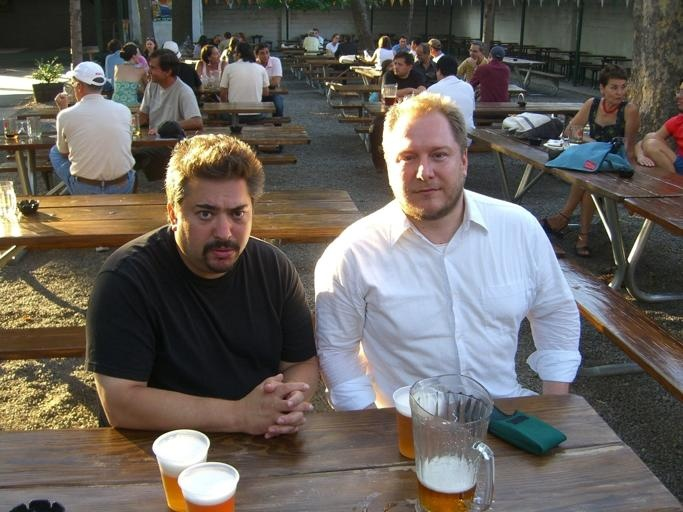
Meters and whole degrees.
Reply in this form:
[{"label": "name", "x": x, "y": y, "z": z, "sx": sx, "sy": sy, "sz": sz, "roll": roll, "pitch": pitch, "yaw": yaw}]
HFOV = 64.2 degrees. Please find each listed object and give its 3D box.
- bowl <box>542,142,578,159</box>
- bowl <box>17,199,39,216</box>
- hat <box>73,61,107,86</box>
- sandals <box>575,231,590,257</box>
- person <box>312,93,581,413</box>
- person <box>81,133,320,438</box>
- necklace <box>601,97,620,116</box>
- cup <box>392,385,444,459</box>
[{"label": "bowl", "x": 2.114, "y": -1.054, "z": 5.275, "sx": 0.285, "sy": 0.094, "sz": 0.252, "roll": -6, "pitch": 22, "yaw": -6}, {"label": "bowl", "x": -2.268, "y": -0.357, "z": 3.941, "sx": 0.126, "sy": 0.085, "sz": 0.124, "roll": 2, "pitch": 16, "yaw": 0}, {"label": "hat", "x": -2.591, "y": -1.829, "z": 5.559, "sx": 0.252, "sy": 0.154, "sz": 0.366, "roll": -24, "pitch": 47, "yaw": -39}, {"label": "sandals", "x": 2.414, "y": -0.131, "z": 5.457, "sx": 0.108, "sy": 0.136, "sz": 0.318, "roll": -1, "pitch": 33, "yaw": 16}, {"label": "person", "x": 0.418, "y": 0.020, "z": 2.148, "sx": 1.060, "sy": 1.225, "sz": 0.473, "roll": -2, "pitch": 21, "yaw": -4}, {"label": "person", "x": -0.461, "y": 0.110, "z": 1.941, "sx": 0.849, "sy": 1.017, "sz": 0.735, "roll": -4, "pitch": 12, "yaw": -28}, {"label": "necklace", "x": 2.847, "y": -1.590, "z": 5.799, "sx": 0.178, "sy": 0.124, "sz": 0.111, "roll": 2, "pitch": 4, "yaw": -22}, {"label": "cup", "x": 0.236, "y": 0.444, "z": 1.597, "sx": 0.164, "sy": 0.248, "sz": 0.163, "roll": -3, "pitch": 25, "yaw": 1}]
